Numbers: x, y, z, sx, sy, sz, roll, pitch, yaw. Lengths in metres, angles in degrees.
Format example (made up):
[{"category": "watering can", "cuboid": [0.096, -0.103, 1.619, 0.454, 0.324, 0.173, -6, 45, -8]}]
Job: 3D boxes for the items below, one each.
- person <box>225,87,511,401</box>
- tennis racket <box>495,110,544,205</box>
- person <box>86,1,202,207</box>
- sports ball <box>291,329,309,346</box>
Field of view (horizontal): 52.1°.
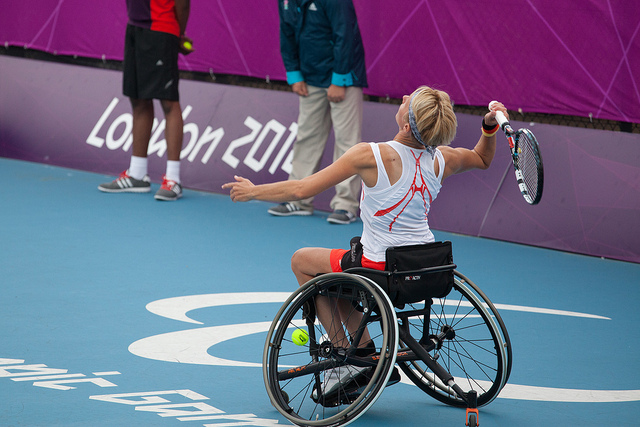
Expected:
[{"category": "person", "cuboid": [0.348, 0.246, 4.432, 1.233, 1.641, 1.107, 4, -2, 27]}, {"category": "tennis racket", "cuboid": [1.424, -0.392, 4.600, 0.355, 0.459, 0.544, 4, -2, 27]}, {"category": "person", "cuboid": [-2.196, -1.598, 8.640, 0.993, 2.687, 1.203, 5, -2, -13]}, {"category": "sports ball", "cuboid": [-0.131, 0.798, 4.216, 0.088, 0.102, 0.092, 14, -7, 2]}]
